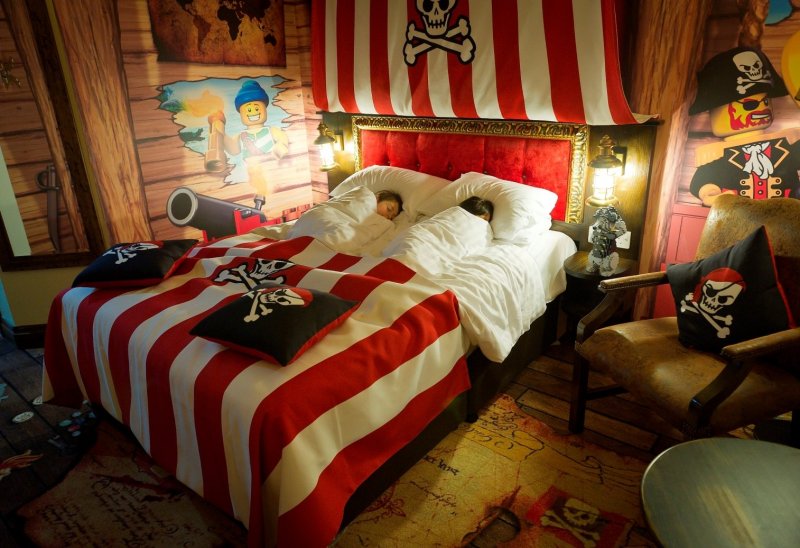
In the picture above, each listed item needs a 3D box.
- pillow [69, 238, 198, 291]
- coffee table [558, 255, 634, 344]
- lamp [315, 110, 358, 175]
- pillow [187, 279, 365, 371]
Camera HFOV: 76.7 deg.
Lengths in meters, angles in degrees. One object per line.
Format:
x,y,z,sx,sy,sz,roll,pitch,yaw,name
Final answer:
-1.605,-0.055,3.010,0.399,0.120,0.401,0,21,-5,pillow
1.244,0.133,3.200,0.474,0.520,0.401,-16,26,-27,coffee table
-0.566,-1.206,4.622,0.558,0.548,0.322,18,28,40,lamp
-0.553,0.207,2.473,0.490,0.160,0.452,14,28,29,pillow
